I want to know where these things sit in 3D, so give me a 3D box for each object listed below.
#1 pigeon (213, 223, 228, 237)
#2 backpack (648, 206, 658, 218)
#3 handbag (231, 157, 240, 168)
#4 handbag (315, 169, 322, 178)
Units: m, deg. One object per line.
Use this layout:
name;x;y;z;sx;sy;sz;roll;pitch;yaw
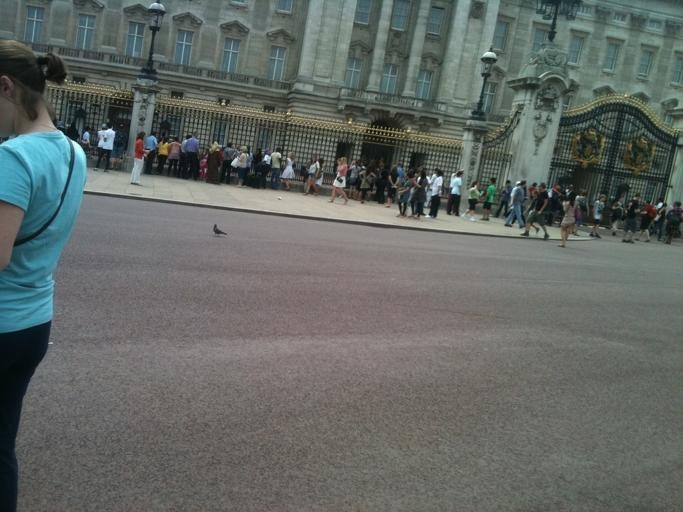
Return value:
pigeon;-2.189;-0.474;11.384;0.186;0.311;0.362;7;8;42
backpack;11.968;-1.726;24.253;0.251;0.562;0.365;-6;22;24
handbag;-4.288;-3.837;25.627;0.237;0.231;0.386;30;-36;-22
handbag;-0.942;-3.455;26.575;0.172;0.306;0.269;1;6;-1
